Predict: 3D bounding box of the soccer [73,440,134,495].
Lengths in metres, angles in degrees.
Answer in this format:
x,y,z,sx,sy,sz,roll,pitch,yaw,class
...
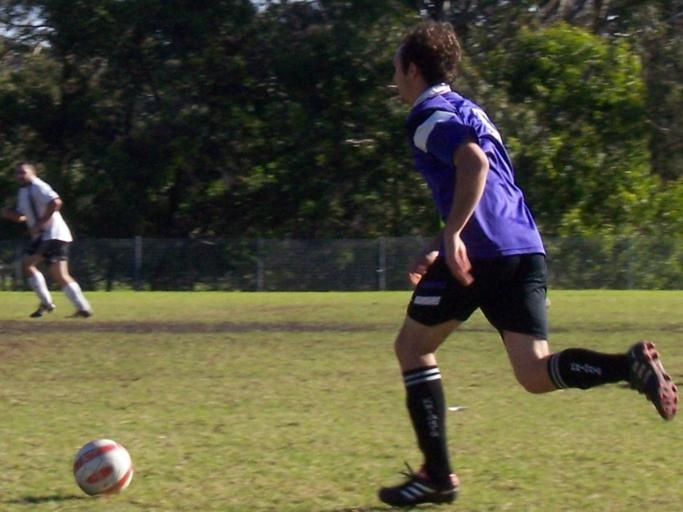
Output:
x,y,z,sx,sy,sz,roll,pitch,yaw,class
-2.102,1.934,10.234,0.637,0.420,0.550,2,-13,-35,soccer

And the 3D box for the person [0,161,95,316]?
x,y,z,sx,sy,sz,roll,pitch,yaw,class
-4.314,-0.219,16.556,1.011,2.279,0.891,0,3,0,person
